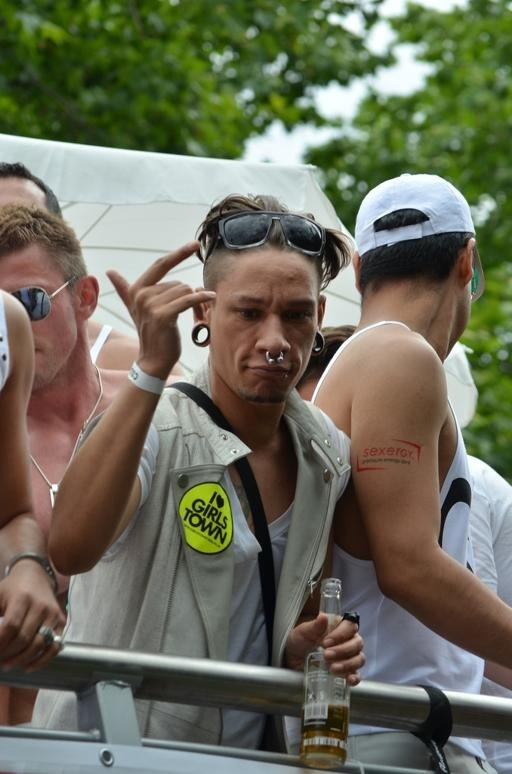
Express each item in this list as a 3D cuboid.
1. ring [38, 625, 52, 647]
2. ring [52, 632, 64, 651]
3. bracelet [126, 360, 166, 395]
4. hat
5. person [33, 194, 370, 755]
[{"bbox_3d":[-0.387,0.459,1.828,0.020,0.029,0.025,-19,52,-14],"label":"ring"},{"bbox_3d":[-0.366,0.474,1.834,0.022,0.022,0.027,5,6,37],"label":"ring"},{"bbox_3d":[-0.229,-0.023,2.099,0.078,0.033,0.069,21,6,-10],"label":"bracelet"},{"bbox_3d":[0.482,-0.479,3.037,0.348,0.427,0.223,-4,68,12],"label":"hat"},{"bbox_3d":[-0.142,0.233,2.394,0.725,1.192,1.189,3,25,13],"label":"person"}]
